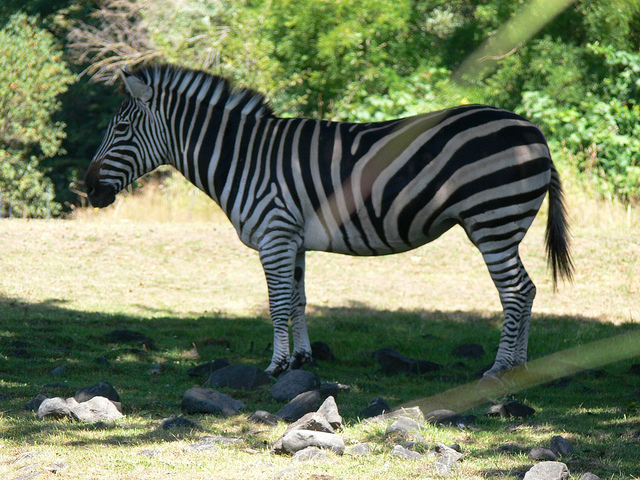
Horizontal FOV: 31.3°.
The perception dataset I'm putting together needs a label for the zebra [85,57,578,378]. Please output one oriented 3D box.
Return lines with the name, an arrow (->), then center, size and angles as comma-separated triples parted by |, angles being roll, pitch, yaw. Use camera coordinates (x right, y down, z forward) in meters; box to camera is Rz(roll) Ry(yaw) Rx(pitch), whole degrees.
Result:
zebra -> 0.145, -0.229, 17.128 | 6.893, 5.247, 1.792 | -1, 10, 8
